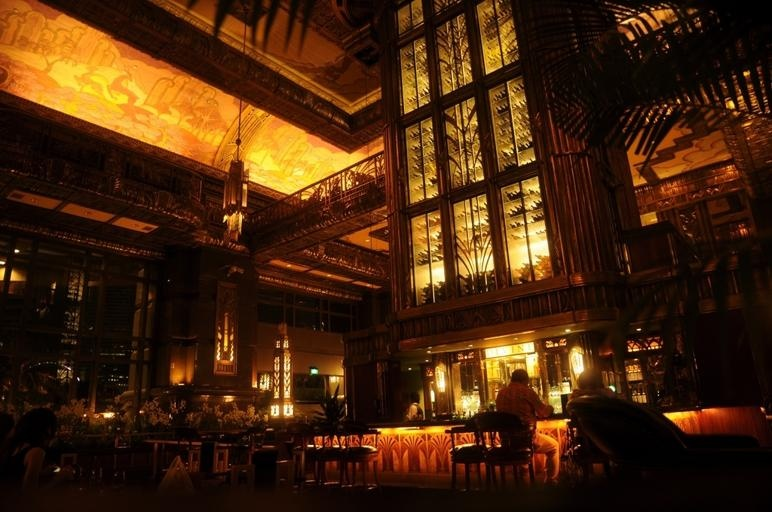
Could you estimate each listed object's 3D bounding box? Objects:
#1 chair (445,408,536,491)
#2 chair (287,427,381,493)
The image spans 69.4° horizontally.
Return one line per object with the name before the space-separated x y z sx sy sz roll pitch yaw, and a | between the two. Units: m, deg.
chair | 1.302 2.476 7.029 1.005 0.838 2.055 -5 -21 5
chair | -0.735 3.325 9.160 1.330 0.846 3.361 -1 -21 -5
